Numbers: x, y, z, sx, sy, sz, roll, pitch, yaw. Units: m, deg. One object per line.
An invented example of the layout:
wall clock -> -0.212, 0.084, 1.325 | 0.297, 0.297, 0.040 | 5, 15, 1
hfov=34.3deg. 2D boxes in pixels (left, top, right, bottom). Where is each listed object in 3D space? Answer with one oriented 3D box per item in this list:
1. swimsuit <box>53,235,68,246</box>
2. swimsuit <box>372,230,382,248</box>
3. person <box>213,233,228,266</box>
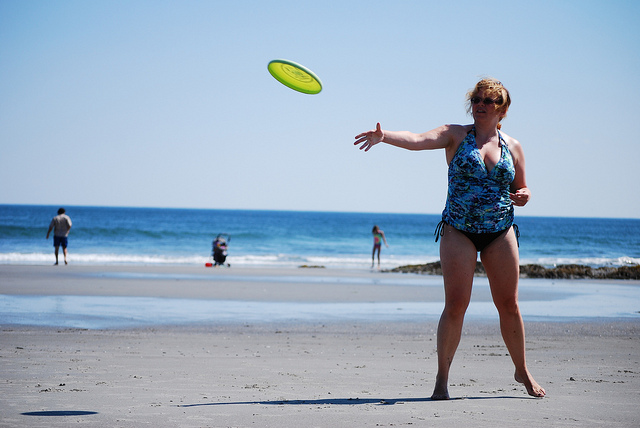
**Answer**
swimsuit -> -6.946, 0.666, 27.709 | 0.407, 0.333, 0.224 | 2, 4, -11
swimsuit -> 1.723, 0.764, 31.099 | 0.210, 0.482, 0.396 | 0, -26, 2
person -> -3.020, 1.085, 31.127 | 0.408, 1.135, 0.813 | 4, -26, -7
